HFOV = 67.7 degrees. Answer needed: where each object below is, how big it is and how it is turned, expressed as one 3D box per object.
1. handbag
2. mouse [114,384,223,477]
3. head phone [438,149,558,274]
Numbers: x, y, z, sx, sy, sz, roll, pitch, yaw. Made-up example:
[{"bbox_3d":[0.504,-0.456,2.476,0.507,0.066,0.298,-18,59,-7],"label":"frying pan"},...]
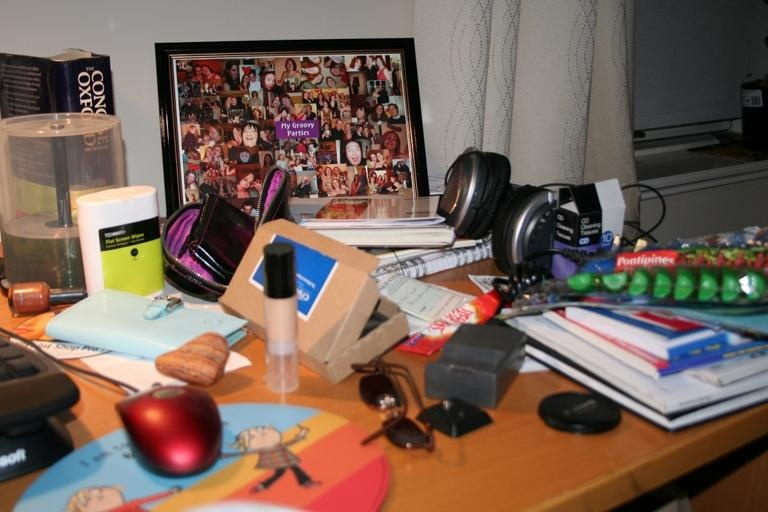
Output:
[{"bbox_3d":[-0.291,-0.037,1.090,0.202,0.219,0.336,3,21,6],"label":"handbag"},{"bbox_3d":[-0.286,0.205,0.751,0.124,0.068,0.202,-2,16,-37],"label":"mouse"},{"bbox_3d":[0.239,-0.083,1.116,0.098,0.268,0.206,-4,22,-37],"label":"head phone"}]
